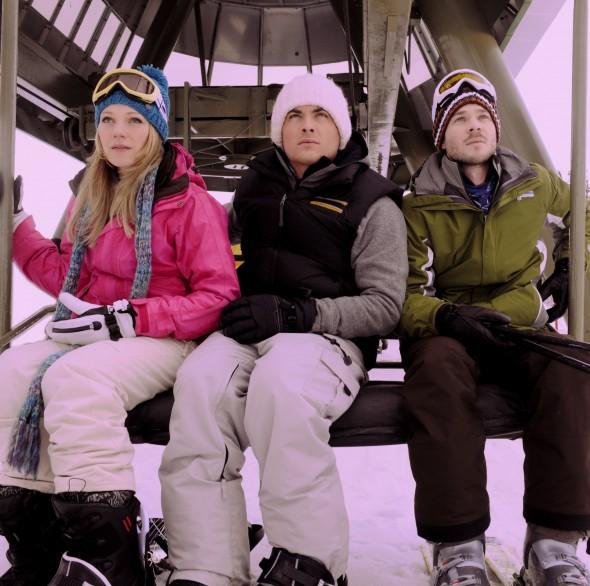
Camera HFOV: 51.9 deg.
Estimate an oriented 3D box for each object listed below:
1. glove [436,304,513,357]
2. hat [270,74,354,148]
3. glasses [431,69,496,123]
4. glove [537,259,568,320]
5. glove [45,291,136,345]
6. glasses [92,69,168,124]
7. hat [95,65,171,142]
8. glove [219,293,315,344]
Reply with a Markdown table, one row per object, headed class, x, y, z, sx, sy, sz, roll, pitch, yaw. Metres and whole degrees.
| class | x | y | z | sx | sy | sz | roll | pitch | yaw |
| --- | --- | --- | --- | --- | --- | --- | --- | --- | --- |
| glove | 0.491 | 0.093 | 1.685 | 0.123 | 0.066 | 0.143 | 11 | 27 | -1 |
| hat | 0.067 | -0.639 | 2.111 | 0.258 | 0.281 | 0.299 | 5 | 16 | 12 |
| glasses | 0.560 | -0.643 | 2.084 | 0.137 | 0.230 | 0.080 | -3 | 13 | 8 |
| glove | 0.836 | -0.020 | 1.969 | 0.051 | 0.187 | 0.117 | 11 | -17 | -35 |
| glove | -0.539 | 0.075 | 1.610 | 0.166 | 0.097 | 0.150 | 2 | 36 | 5 |
| glasses | -0.567 | -0.642 | 1.956 | 0.176 | 0.091 | 0.228 | -6 | 1 | -23 |
| hat | -0.521 | -0.634 | 1.966 | 0.188 | 0.259 | 0.241 | 13 | -13 | -8 |
| glove | -0.071 | 0.060 | 1.652 | 0.196 | 0.149 | 0.092 | -1 | -39 | -9 |
